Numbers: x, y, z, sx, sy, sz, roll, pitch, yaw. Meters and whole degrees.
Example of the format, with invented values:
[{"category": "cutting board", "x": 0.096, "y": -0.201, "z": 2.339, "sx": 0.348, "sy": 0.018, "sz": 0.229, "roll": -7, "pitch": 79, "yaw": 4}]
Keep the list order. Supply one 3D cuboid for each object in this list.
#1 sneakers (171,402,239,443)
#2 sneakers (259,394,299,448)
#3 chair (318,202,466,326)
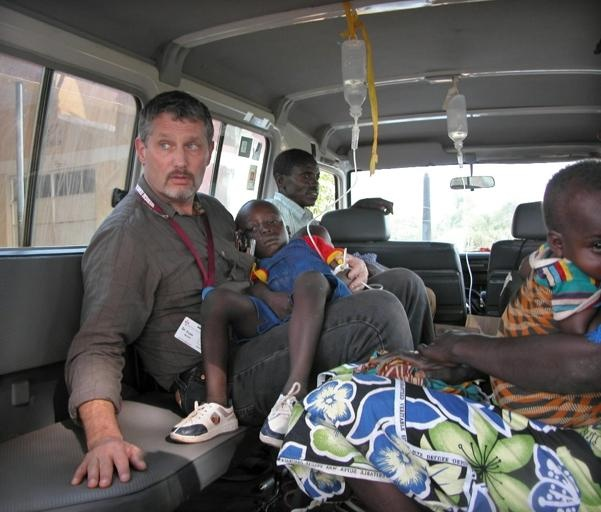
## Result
[{"category": "sneakers", "x": -0.342, "y": 0.605, "z": 1.520, "sx": 0.093, "sy": 0.112, "sz": 0.257, "roll": -10, "pitch": -15, "yaw": 33}, {"category": "sneakers", "x": -0.071, "y": 0.553, "z": 1.425, "sx": 0.081, "sy": 0.106, "sz": 0.244, "roll": 28, "pitch": 0, "yaw": 2}, {"category": "chair", "x": 0.922, "y": 0.147, "z": 3.811, "sx": 1.027, "sy": 1.040, "sz": 0.999, "roll": -3, "pitch": -2, "yaw": 16}]
